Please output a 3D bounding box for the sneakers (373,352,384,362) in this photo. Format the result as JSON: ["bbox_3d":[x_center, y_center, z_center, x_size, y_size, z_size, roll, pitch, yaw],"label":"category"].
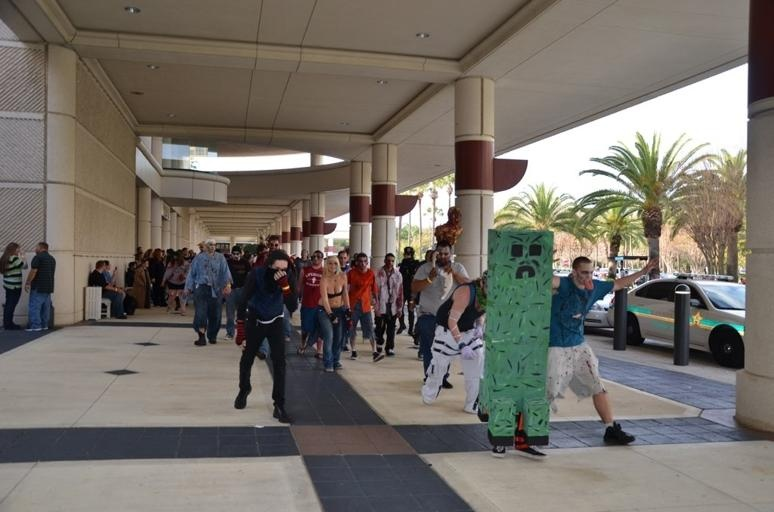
[{"bbox_3d":[-0.187,2.306,12.959,0.118,0.147,0.334,3,-19,-22],"label":"sneakers"}]

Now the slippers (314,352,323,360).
[{"bbox_3d":[-1.575,2.340,13.207,0.285,0.143,0.393,1,-1,-4],"label":"slippers"}]

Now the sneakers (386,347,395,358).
[{"bbox_3d":[0.080,2.379,13.931,0.126,0.145,0.331,2,-8,-15],"label":"sneakers"}]

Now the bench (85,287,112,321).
[{"bbox_3d":[-8.973,1.465,17.589,0.538,1.072,0.866,1,3,-11],"label":"bench"}]

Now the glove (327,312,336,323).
[{"bbox_3d":[-1.148,1.289,11.896,0.160,0.189,0.082,2,3,-6],"label":"glove"}]

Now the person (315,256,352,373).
[{"bbox_3d":[-1.121,1.197,12.130,0.459,2.428,0.924,3,3,26],"label":"person"}]

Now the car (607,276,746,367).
[{"bbox_3d":[8.179,1.706,15.441,1.831,1.536,4.399,3,-4,-18],"label":"car"}]

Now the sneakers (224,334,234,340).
[{"bbox_3d":[-4.187,2.128,14.955,0.281,0.138,0.122,-2,2,15],"label":"sneakers"}]

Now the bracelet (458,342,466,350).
[{"bbox_3d":[1.207,1.465,9.211,0.085,0.123,0.120,2,-10,-42],"label":"bracelet"}]

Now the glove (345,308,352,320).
[{"bbox_3d":[-0.850,1.291,12.404,0.163,0.239,0.238,1,-4,0],"label":"glove"}]

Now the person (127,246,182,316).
[{"bbox_3d":[-9.011,1.066,21.884,0.708,1.408,2.144,2,16,-5],"label":"person"}]

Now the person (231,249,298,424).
[{"bbox_3d":[-1.879,1.190,8.902,1.066,2.609,0.659,4,4,34],"label":"person"}]

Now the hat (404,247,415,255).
[{"bbox_3d":[0.626,-0.134,15.106,0.184,0.209,0.230,3,-6,-11],"label":"hat"}]

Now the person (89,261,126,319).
[{"bbox_3d":[-8.962,1.063,18.222,0.979,1.815,0.794,0,5,-21],"label":"person"}]

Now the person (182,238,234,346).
[{"bbox_3d":[-4.361,0.944,13.898,1.029,2.560,0.705,1,3,-20],"label":"person"}]

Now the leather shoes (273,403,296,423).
[{"bbox_3d":[-1.585,2.441,8.746,0.160,0.283,0.439,4,-9,-30],"label":"leather shoes"}]

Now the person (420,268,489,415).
[{"bbox_3d":[1.218,1.401,9.311,0.930,2.531,0.781,11,11,10],"label":"person"}]

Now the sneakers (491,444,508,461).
[{"bbox_3d":[1.509,2.620,7.568,0.095,0.116,0.266,2,3,1],"label":"sneakers"}]
